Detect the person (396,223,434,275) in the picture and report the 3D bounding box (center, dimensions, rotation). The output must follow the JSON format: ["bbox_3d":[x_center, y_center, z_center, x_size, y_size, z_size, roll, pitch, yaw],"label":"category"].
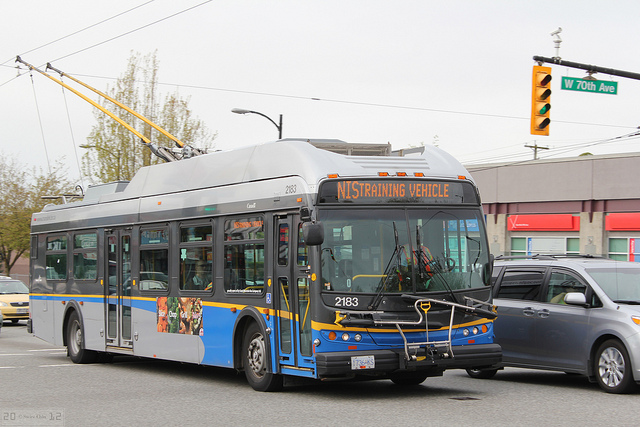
[{"bbox_3d":[1.633,0.632,11.161,0.881,0.888,0.591,7,-1,-9],"label":"person"}]

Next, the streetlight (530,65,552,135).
[{"bbox_3d":[6.508,-3.380,19.254,0.605,2.096,0.457,-3,-6,18],"label":"streetlight"}]

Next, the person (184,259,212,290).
[{"bbox_3d":[-2.435,1.369,13.478,0.540,0.763,0.551,2,2,14],"label":"person"}]

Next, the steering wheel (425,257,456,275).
[{"bbox_3d":[2.066,0.875,11.150,0.618,0.278,0.100,4,-8,-33],"label":"steering wheel"}]
